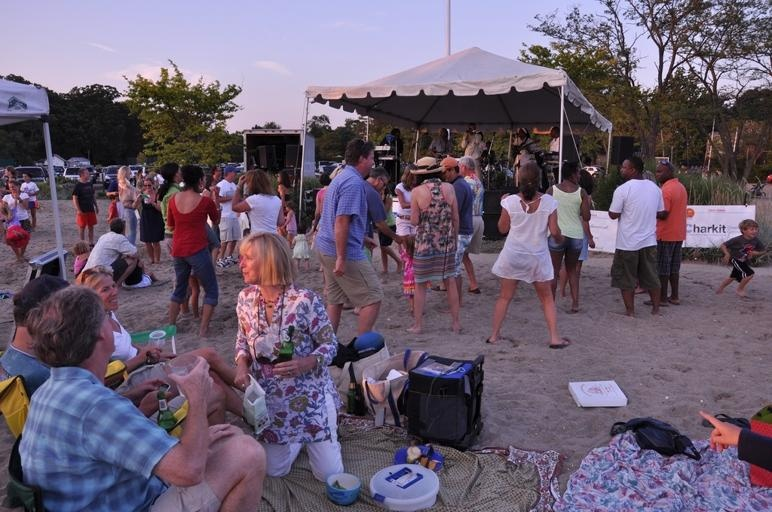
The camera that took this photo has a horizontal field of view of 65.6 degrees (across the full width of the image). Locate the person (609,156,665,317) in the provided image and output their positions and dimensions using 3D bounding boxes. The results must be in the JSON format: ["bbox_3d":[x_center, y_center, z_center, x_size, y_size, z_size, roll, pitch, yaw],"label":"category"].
[{"bbox_3d":[3.391,-0.245,8.080,0.796,2.157,0.451,-5,10,-24],"label":"person"}]

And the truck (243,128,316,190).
[{"bbox_3d":[-4.201,-3.098,21.825,1.606,1.852,2.956,-1,-16,-14],"label":"truck"}]

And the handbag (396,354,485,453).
[{"bbox_3d":[0.598,1.433,5.868,0.774,0.878,0.807,2,2,22],"label":"handbag"}]

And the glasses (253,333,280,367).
[{"bbox_3d":[-1.000,0.769,4.982,0.194,0.264,0.118,6,-3,13],"label":"glasses"}]

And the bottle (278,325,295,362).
[{"bbox_3d":[-0.821,0.722,4.899,0.148,0.283,0.137,-1,9,0],"label":"bottle"}]

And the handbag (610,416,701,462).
[{"bbox_3d":[2.418,1.591,5.319,0.449,0.169,0.328,23,0,38],"label":"handbag"}]

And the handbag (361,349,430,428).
[{"bbox_3d":[0.184,1.363,6.102,0.744,0.561,0.530,-29,16,-35],"label":"handbag"}]

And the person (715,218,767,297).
[{"bbox_3d":[5.548,-0.011,9.289,0.563,1.131,0.885,4,11,31],"label":"person"}]

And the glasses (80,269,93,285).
[{"bbox_3d":[-2.734,0.190,5.440,0.106,0.134,0.146,-7,7,2],"label":"glasses"}]

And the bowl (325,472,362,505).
[{"bbox_3d":[-0.363,1.963,5.065,0.225,0.135,0.230,0,8,0],"label":"bowl"}]

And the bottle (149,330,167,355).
[{"bbox_3d":[-2.152,0.806,5.637,0.202,0.159,0.199,3,13,-1],"label":"bottle"}]

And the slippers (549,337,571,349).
[{"bbox_3d":[2.137,1.067,7.352,0.165,0.076,0.054,-19,35,-3],"label":"slippers"}]

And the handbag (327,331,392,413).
[{"bbox_3d":[-0.325,1.286,6.299,0.778,0.766,0.607,-12,17,-33],"label":"handbag"}]
